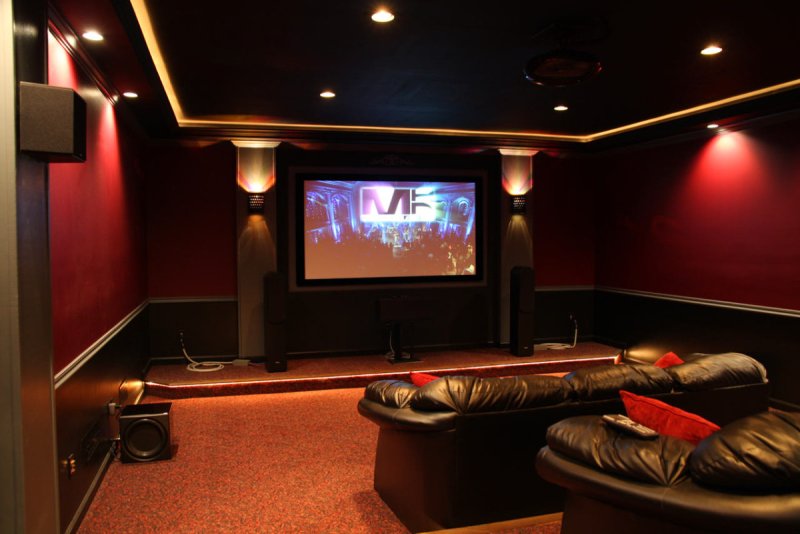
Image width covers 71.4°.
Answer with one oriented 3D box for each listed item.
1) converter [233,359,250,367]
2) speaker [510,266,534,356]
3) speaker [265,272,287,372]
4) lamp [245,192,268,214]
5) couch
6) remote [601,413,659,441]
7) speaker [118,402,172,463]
[{"bbox_3d":[-2.048,1.241,7.178,0.198,0.069,0.183,-4,11,-16],"label":"converter"},{"bbox_3d":[1.682,0.610,7.686,0.317,1.151,0.503,1,11,10],"label":"speaker"},{"bbox_3d":[-1.542,0.683,6.854,0.300,1.176,0.313,-2,11,-8],"label":"speaker"},{"bbox_3d":[-1.860,-0.816,7.195,0.246,0.264,0.090,-3,11,-14],"label":"lamp"},{"bbox_3d":[1.228,1.193,4.095,3.001,1.132,0.970,-3,11,-14],"label":"couch"},{"bbox_3d":[1.196,0.827,2.917,0.287,0.063,0.128,9,14,42],"label":"remote"},{"bbox_3d":[-2.248,1.476,5.041,0.450,0.434,0.455,0,-1,-13],"label":"speaker"}]
